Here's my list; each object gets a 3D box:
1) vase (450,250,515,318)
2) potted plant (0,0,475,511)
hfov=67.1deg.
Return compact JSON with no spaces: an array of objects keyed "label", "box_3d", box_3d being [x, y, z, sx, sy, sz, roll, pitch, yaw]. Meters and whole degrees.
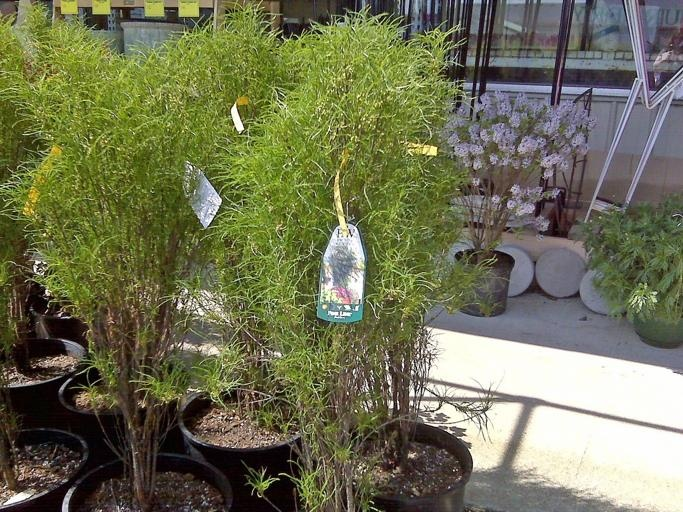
[{"label":"vase","box_3d":[0.772,0.158,2.806,0.293,0.352,0.357,2,27,5]},{"label":"potted plant","box_3d":[-0.271,0.066,1.634,1.275,1.569,0.652,10,18,15]}]
